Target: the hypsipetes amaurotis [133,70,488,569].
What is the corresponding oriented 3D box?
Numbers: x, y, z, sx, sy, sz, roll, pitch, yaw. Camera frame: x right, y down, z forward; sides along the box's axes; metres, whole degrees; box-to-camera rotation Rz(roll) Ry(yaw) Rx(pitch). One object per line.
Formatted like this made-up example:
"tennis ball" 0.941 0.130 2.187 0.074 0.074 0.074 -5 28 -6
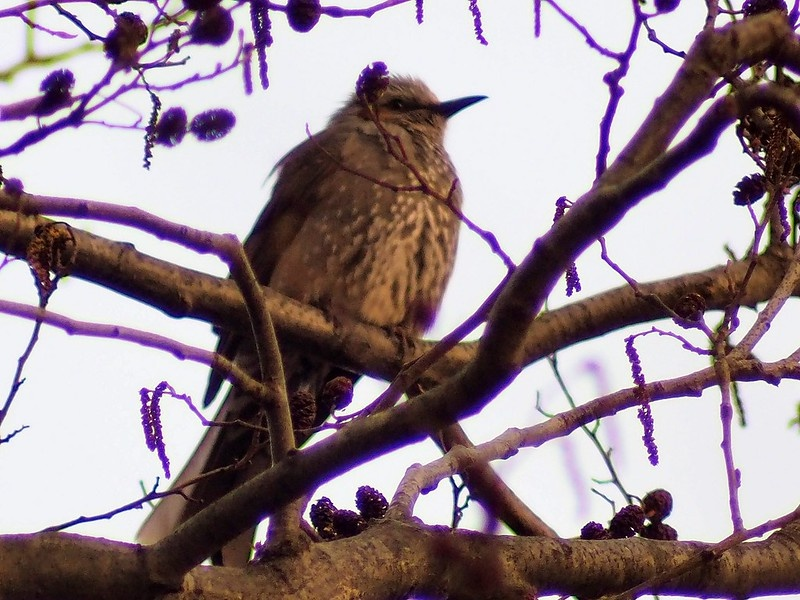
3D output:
"hypsipetes amaurotis" -0.312 -0.069 6.571 1.461 1.550 0.660 -31 -53 18
